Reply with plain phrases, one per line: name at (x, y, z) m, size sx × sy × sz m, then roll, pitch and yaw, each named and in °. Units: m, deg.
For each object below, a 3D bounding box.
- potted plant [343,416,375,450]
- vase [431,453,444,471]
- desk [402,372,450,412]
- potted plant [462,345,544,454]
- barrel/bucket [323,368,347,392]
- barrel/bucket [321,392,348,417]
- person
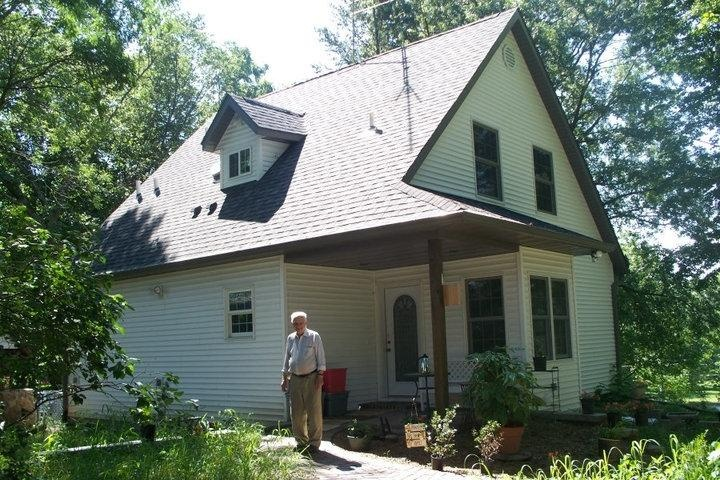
potted plant at (-0.036, 4.159, 13.261) m, size 0.594 × 0.635 × 0.603 m, roll 4°, pitch -14°, yaw -11°
vase at (1.494, 4.213, 11.715) m, size 0.232 × 0.236 × 0.223 m, roll 8°, pitch -10°, yaw -43°
desk at (1.727, 4.071, 15.946) m, size 1.188 × 1.198 × 1.238 m, roll -2°, pitch -10°, yaw 16°
potted plant at (2.982, 3.453, 13.432) m, size 1.839 × 2.535 × 1.913 m, roll 1°, pitch -17°, yaw 1°
barrel/bucket at (-0.638, 3.665, 16.096) m, size 0.536 × 0.469 × 0.628 m, roll -6°, pitch -15°, yaw 25°
barrel/bucket at (-0.688, 4.254, 16.001) m, size 0.697 × 0.507 × 0.564 m, roll 10°, pitch -17°, yaw -42°
person at (-1.156, 2.892, 12.605) m, size 0.795 × 2.747 × 0.871 m, roll 0°, pitch -11°, yaw -17°
